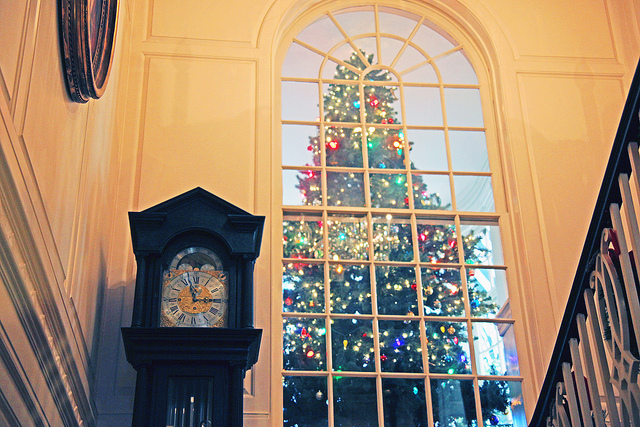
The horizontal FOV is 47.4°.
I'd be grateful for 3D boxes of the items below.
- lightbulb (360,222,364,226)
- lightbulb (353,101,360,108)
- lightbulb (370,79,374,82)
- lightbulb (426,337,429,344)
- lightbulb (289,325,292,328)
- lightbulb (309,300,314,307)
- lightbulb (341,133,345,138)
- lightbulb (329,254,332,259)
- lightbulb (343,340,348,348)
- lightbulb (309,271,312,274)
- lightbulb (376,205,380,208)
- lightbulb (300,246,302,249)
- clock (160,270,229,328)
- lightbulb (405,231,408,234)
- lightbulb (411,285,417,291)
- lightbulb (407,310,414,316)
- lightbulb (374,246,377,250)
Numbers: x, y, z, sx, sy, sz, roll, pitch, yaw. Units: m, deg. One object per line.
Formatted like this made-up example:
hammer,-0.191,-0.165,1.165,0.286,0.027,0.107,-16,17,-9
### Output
lightbulb,0.386,0.098,6.682,0.023,0.024,0.013,8,-13,-9
lightbulb,0.362,-1.063,7.175,0.051,0.061,0.052,-10,-13,7
lightbulb,0.521,-1.328,7.279,0.034,0.035,0.019,-1,-34,0
lightbulb,0.933,1.103,6.333,0.035,0.044,0.020,4,-25,0
lightbulb,-0.259,0.971,6.267,0.017,0.017,0.009,-2,-33,-4
lightbulb,-0.074,0.785,6.360,0.037,0.051,0.019,-4,0,-6
lightbulb,0.222,-0.754,7.018,0.022,0.027,0.022,5,-23,-7
lightbulb,0.094,0.385,6.538,0.038,0.040,0.022,3,10,11
lightbulb,0.221,1.116,6.266,0.036,0.053,0.037,-7,-25,0
lightbulb,-0.086,0.523,6.454,0.023,0.021,0.007,10,-8,-12
lightbulb,0.542,-0.066,6.768,0.028,0.028,0.016,-3,-47,1
lightbulb,-0.173,0.302,6.537,0.011,0.020,0.011,9,-34,-14
clock,-0.959,0.658,5.468,0.428,0.443,0.059,0,-31,-4
lightbulb,0.796,0.175,6.680,0.021,0.022,0.012,1,-25,-15
lightbulb,0.841,0.662,6.495,0.032,0.048,0.011,7,-3,1
lightbulb,0.797,0.872,6.409,0.034,0.048,0.014,-1,0,2
lightbulb,0.503,0.317,6.604,0.024,0.024,0.014,24,-42,16
